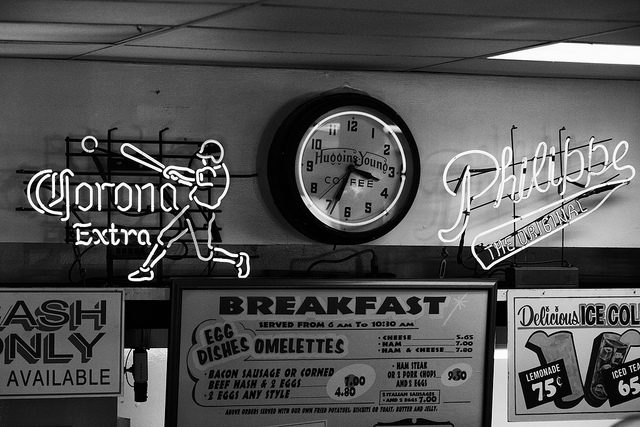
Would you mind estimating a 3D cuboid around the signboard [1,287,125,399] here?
[{"bbox_3d":[-1.455,0.705,6.379,0.706,0.469,0.024,0,-6,-7],"label":"signboard"}]

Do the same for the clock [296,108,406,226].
[{"bbox_3d":[0.152,-0.267,6.558,0.751,0.654,0.115,0,-5,-8],"label":"clock"}]

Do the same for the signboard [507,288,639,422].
[{"bbox_3d":[1.440,0.809,6.682,0.877,0.577,0.033,0,-2,-7],"label":"signboard"}]
